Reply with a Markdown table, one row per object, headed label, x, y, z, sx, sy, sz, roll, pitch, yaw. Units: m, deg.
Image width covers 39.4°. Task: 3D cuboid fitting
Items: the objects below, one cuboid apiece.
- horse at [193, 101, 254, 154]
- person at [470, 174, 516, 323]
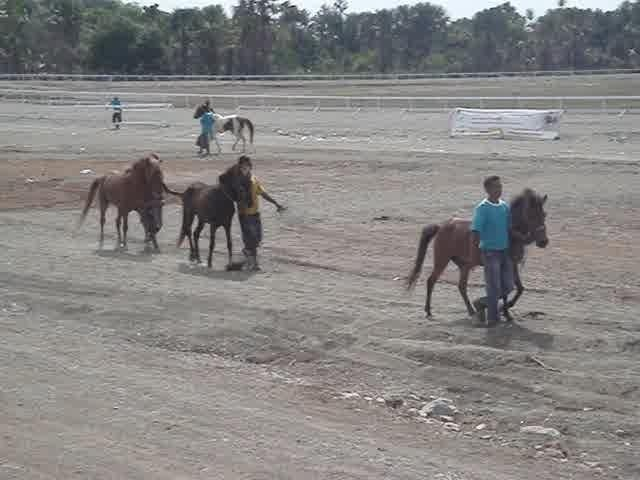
| label | x | y | z | sx | sy | sz | roll | pitch | yaw |
| --- | --- | --- | --- | --- | --- | --- | --- | --- | --- |
| horse | -3.721 | -4.453 | 35.481 | 2.818 | 1.683 | 0.624 | 10 | 8 | 28 |
| person | 2.872 | 0.183 | 14.970 | 0.722 | 2.508 | 0.474 | 1 | 8 | 1 |
